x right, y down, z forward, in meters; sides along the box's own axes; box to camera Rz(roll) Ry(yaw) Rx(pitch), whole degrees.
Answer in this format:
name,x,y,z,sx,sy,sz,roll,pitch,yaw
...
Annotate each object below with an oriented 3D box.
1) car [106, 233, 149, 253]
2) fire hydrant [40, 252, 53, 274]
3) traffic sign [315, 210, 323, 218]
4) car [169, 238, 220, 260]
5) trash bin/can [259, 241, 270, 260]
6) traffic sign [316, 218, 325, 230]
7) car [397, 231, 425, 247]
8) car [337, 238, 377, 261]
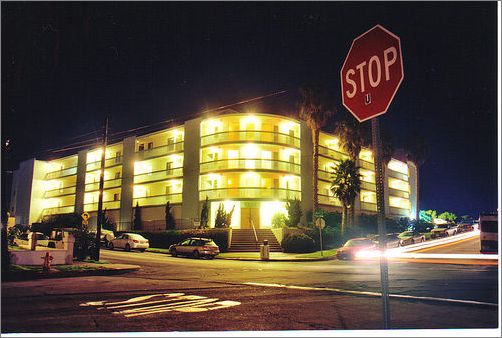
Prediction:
name,x,y,z,sx,sy,sz,roll,pitch,yaw
car,-11.553,6.973,37.679,3.845,1.762,1.011,-9,-17,30
fire hydrant,-10.556,4.809,20.646,0.463,1.028,1.395,7,-16,-27
traffic sign,7.562,5.021,44.321,0.479,1.121,2.058,-7,-16,23
car,-4.703,6.559,32.738,4.017,1.736,1.025,-7,-16,22
trash bin/can,1.013,6.165,30.242,0.634,1.482,0.765,1,-15,-6
traffic sign,5.674,4.495,32.765,0.583,0.858,2.037,-3,-15,12
car,15.528,6.954,39.580,1.433,1.022,3.409,-13,-17,42
car,8.243,6.323,31.381,1.516,1.185,2.513,-17,-23,42
